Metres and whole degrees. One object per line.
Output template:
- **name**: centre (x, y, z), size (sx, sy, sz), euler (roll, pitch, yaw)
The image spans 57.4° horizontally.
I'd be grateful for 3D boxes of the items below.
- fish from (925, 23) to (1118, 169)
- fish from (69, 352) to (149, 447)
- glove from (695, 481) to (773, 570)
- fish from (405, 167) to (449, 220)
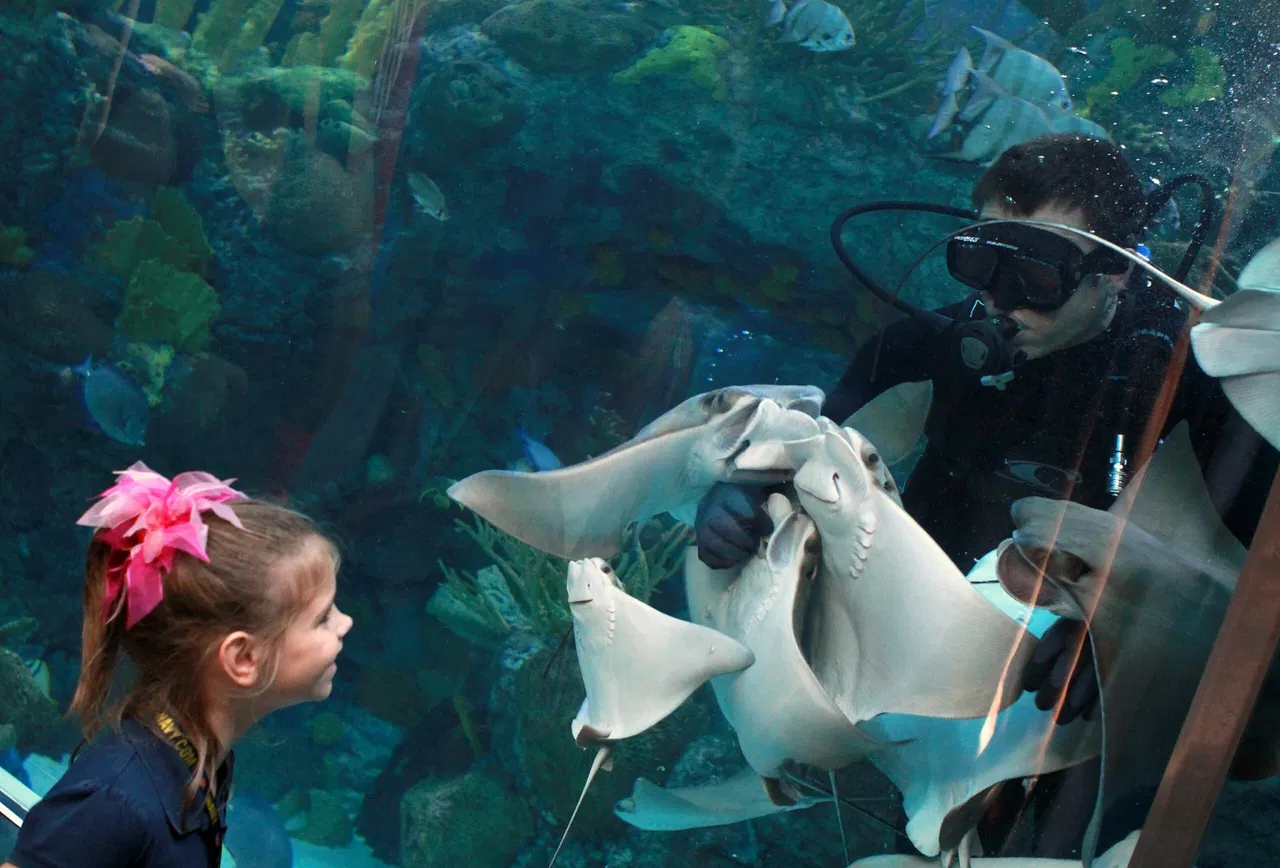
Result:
- **fish**: centre (0.715, -0.652, 2.294), size (0.364, 0.245, 0.163), euler (27, 27, 35)
- **fish**: centre (-1.410, -0.090, 3.099), size (0.332, 0.178, 0.016), euler (24, 10, 27)
- **glove**: centre (0.212, 0.205, 2.473), size (0.136, 0.186, 0.084), euler (31, 17, 38)
- **fish**: centre (-0.499, -0.556, 2.776), size (0.165, 0.067, 0.054), euler (48, 17, 32)
